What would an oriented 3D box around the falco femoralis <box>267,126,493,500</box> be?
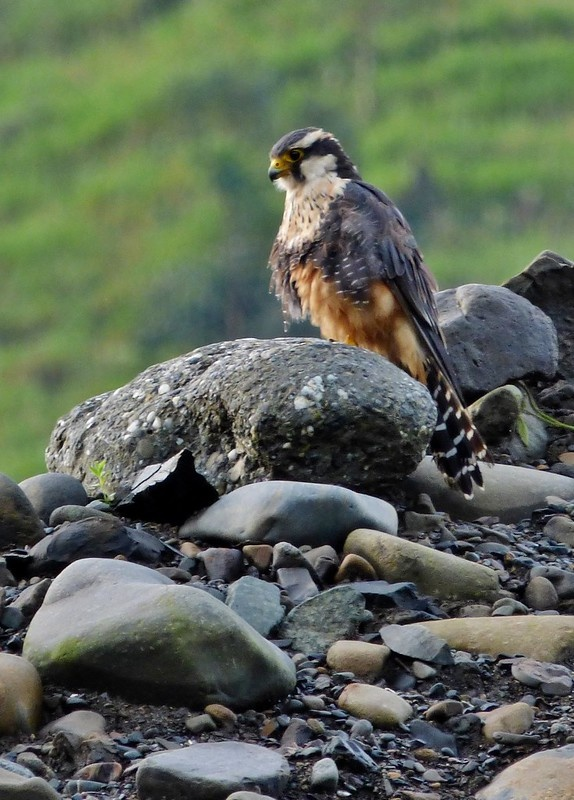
[{"bbox_3d":[0.338,-0.337,4.821,0.957,1.091,0.569,16,-24,-14],"label":"falco femoralis"}]
